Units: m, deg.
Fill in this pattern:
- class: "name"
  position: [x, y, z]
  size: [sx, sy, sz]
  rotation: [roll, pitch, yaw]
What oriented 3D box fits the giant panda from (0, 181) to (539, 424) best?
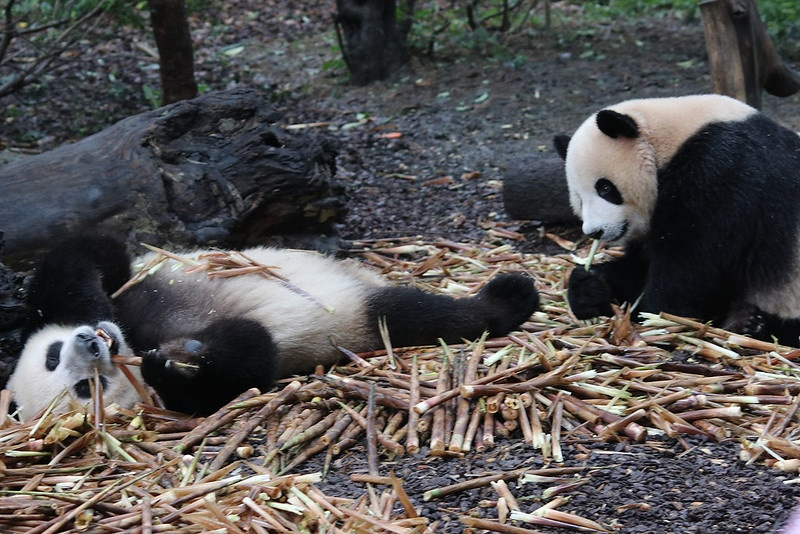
- class: "giant panda"
  position: [-0.908, 0.283, 6.035]
  size: [2.813, 0.514, 1.465]
  rotation: [-9, -4, -12]
